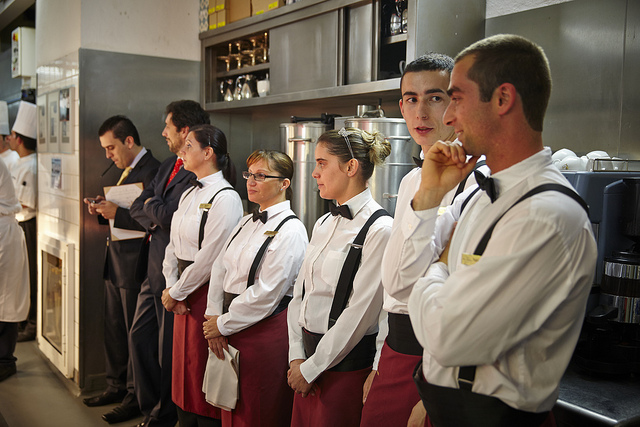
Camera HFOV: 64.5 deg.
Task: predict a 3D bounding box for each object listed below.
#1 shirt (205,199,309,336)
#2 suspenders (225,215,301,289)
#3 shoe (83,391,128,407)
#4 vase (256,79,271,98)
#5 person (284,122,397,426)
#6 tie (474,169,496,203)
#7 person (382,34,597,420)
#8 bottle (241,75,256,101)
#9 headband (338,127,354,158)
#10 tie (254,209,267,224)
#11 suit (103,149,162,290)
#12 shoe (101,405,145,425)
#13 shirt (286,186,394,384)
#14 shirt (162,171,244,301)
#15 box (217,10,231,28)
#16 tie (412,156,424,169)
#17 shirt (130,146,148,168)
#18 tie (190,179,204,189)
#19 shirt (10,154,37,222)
[{"bbox_3d":[-0.436,0.332,3.215,0.507,0.838,0.698,5,6,-41],"label":"shirt"},{"bbox_3d":[-0.363,0.190,3.183,0.383,0.373,0.312,22,20,35],"label":"suspenders"},{"bbox_3d":[-1.828,1.549,4.355,0.383,0.152,0.137,6,-3,-22],"label":"shoe"},{"bbox_3d":[-0.505,-1.122,4.562,0.139,0.184,0.145,7,8,27],"label":"vase"},{"bbox_3d":[0.091,0.340,2.622,0.566,1.522,0.500,-3,10,0],"label":"person"},{"bbox_3d":[0.602,-0.098,1.852,0.023,0.089,0.120,-10,20,-16],"label":"tie"},{"bbox_3d":[0.557,0.071,1.851,0.527,1.389,0.630,-8,11,-27],"label":"person"},{"bbox_3d":[-0.681,-1.178,4.711,0.137,0.195,0.099,-5,10,-9],"label":"bottle"},{"bbox_3d":[0.127,-0.393,2.706,0.084,0.113,0.032,-6,-11,-40],"label":"headband"},{"bbox_3d":[-0.380,0.017,3.171,0.021,0.074,0.091,0,3,-44],"label":"tie"},{"bbox_3d":[-1.559,0.054,4.227,0.409,1.120,0.412,-9,20,-34],"label":"suit"},{"bbox_3d":[-1.592,1.592,4.105,0.359,0.133,0.131,14,-10,-42],"label":"shoe"},{"bbox_3d":[0.062,0.367,2.704,0.488,0.924,0.690,2,4,-32],"label":"shirt"},{"bbox_3d":[-0.864,0.233,3.627,0.485,0.949,0.478,-8,24,-35],"label":"shirt"},{"bbox_3d":[-0.897,-1.807,4.696,0.064,0.175,0.201,3,-4,-34],"label":"box"},{"bbox_3d":[0.450,-0.241,2.329,0.050,0.047,0.018,37,55,14],"label":"tie"},{"bbox_3d":[-1.575,-0.487,4.373,0.037,0.146,0.123,31,-12,-28],"label":"shirt"},{"bbox_3d":[-0.887,-0.218,3.615,0.091,0.051,0.022,25,11,30],"label":"tie"},{"bbox_3d":[-3.293,-0.268,5.614,0.272,0.708,0.341,-6,27,-15],"label":"shirt"}]
